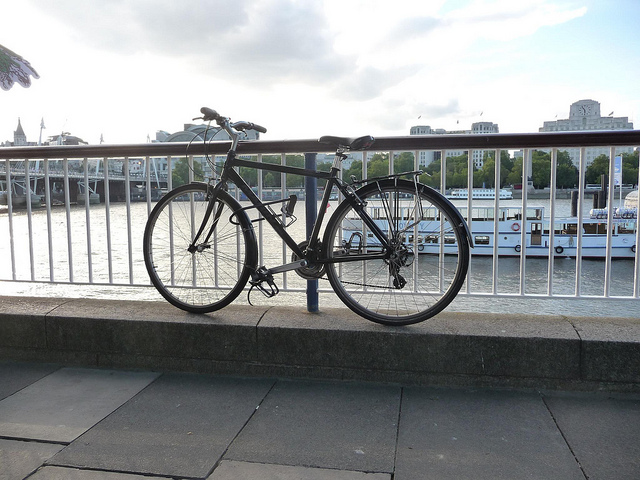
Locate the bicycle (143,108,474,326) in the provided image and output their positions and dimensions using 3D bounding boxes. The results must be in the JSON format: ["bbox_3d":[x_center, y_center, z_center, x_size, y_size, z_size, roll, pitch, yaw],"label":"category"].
[{"bbox_3d":[-0.177,-0.121,5.226,2.614,1.476,0.968,1,5,17],"label":"bicycle"}]

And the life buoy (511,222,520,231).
[{"bbox_3d":[8.423,-0.487,30.157,0.447,0.439,0.120,0,-11,30],"label":"life buoy"}]
